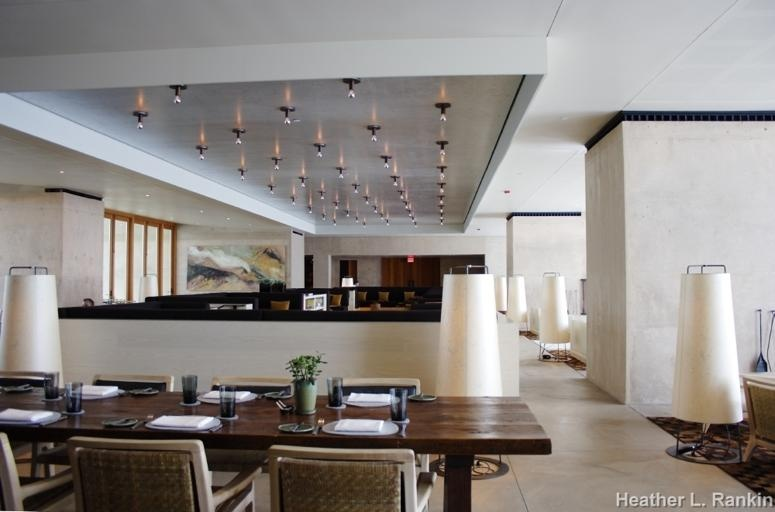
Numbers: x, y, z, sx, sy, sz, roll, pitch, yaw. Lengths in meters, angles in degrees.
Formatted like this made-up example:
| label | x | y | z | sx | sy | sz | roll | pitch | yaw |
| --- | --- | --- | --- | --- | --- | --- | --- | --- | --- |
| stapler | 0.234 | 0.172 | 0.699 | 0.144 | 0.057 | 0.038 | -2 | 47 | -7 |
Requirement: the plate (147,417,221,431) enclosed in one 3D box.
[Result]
| label | x | y | z | sx | sy | sz | roll | pitch | yaw |
| --- | --- | --- | --- | --- | --- | --- | --- | --- | --- |
| plate | -1.482 | 1.201 | 4.324 | 0.550 | 0.059 | 0.263 | 1 | 5 | 1 |

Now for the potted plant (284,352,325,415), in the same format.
| label | x | y | z | sx | sy | sz | roll | pitch | yaw |
| --- | --- | --- | --- | --- | --- | --- | --- | --- | --- |
| potted plant | -0.631 | 0.994 | 4.567 | 0.316 | 0.399 | 0.285 | -1 | -4 | -1 |

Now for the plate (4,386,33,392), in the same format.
| label | x | y | z | sx | sy | sz | roll | pitch | yaw |
| --- | --- | --- | --- | --- | --- | --- | --- | --- | --- |
| plate | -3.163 | 1.141 | 5.056 | 0.134 | 0.017 | 0.089 | 2 | -2 | -21 |

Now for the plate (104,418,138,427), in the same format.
| label | x | y | z | sx | sy | sz | roll | pitch | yaw |
| --- | --- | --- | --- | --- | --- | --- | --- | --- | --- |
| plate | -1.943 | 1.215 | 4.313 | 0.115 | 0.025 | 0.084 | 5 | 0 | -6 |

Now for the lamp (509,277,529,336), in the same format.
| label | x | y | z | sx | sy | sz | roll | pitch | yaw |
| --- | --- | --- | --- | --- | --- | --- | --- | --- | --- |
| lamp | 3.195 | 1.089 | 14.394 | 0.436 | 1.295 | 1.126 | 5 | 7 | 30 |

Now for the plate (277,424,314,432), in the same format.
| label | x | y | z | sx | sy | sz | roll | pitch | yaw |
| --- | --- | --- | --- | --- | --- | --- | --- | --- | --- |
| plate | -0.650 | 1.221 | 4.199 | 0.245 | 0.030 | 0.130 | 2 | 5 | 7 |
